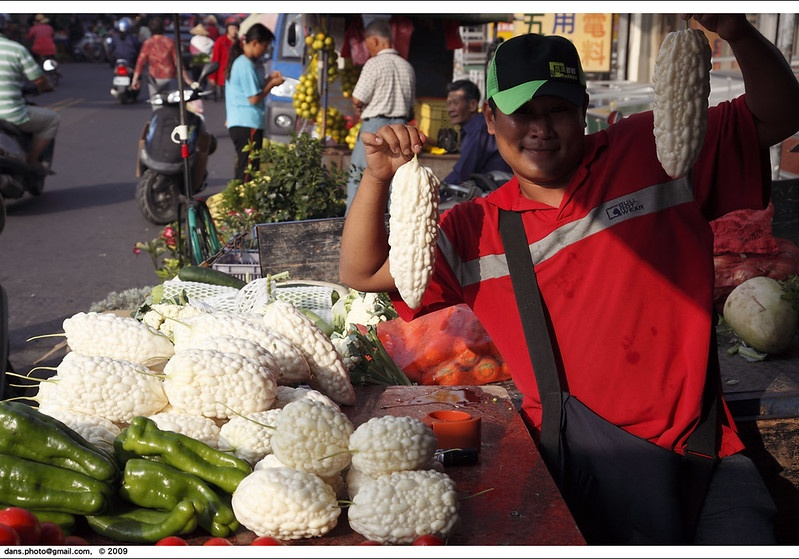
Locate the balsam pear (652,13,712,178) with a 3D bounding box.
[{"bbox_3d":[1.022,-0.626,2.589,0.192,0.543,0.295,5,24,21],"label":"balsam pear"}]

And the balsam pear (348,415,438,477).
[{"bbox_3d":[-0.034,0.596,2.520,0.262,0.208,0.200,-2,57,4],"label":"balsam pear"}]

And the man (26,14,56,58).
[{"bbox_3d":[-11.277,-7.431,22.467,0.749,1.679,0.712,-10,0,-39],"label":"man"}]

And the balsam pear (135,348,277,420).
[{"bbox_3d":[-0.742,0.412,2.833,0.403,0.247,0.230,6,8,2],"label":"balsam pear"}]

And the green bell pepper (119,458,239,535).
[{"bbox_3d":[-0.776,0.761,2.606,0.434,0.199,0.175,22,-17,6],"label":"green bell pepper"}]

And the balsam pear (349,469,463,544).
[{"bbox_3d":[0.011,0.770,2.428,0.320,0.156,0.205,-1,28,-1],"label":"balsam pear"}]

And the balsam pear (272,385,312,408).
[{"bbox_3d":[-0.463,0.486,2.983,0.119,0.036,0.101,2,7,8],"label":"balsam pear"}]

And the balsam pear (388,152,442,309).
[{"bbox_3d":[0.058,-0.169,2.700,0.201,0.568,0.182,-4,22,-1],"label":"balsam pear"}]

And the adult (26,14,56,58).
[{"bbox_3d":[-11.280,-7.427,22.522,0.779,1.772,0.728,-10,-4,-33],"label":"adult"}]

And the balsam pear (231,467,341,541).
[{"bbox_3d":[-0.382,0.775,2.430,0.325,0.221,0.202,4,49,-2],"label":"balsam pear"}]

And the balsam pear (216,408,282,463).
[{"bbox_3d":[-0.596,0.641,2.811,0.251,0.124,0.149,26,-16,-37],"label":"balsam pear"}]

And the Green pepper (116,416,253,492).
[{"bbox_3d":[-0.793,0.641,2.685,0.571,0.174,0.205,21,40,14],"label":"Green pepper"}]

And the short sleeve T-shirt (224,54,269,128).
[{"bbox_3d":[-2.237,-2.650,10.165,0.486,1.032,0.352,-12,23,-18],"label":"short sleeve T-shirt"}]

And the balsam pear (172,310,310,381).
[{"bbox_3d":[-0.685,0.250,3.196,0.531,0.237,0.291,12,60,17],"label":"balsam pear"}]

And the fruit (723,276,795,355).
[{"bbox_3d":[2.137,0.217,4.235,0.334,0.343,0.451,-17,24,22],"label":"fruit"}]

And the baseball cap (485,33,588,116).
[{"bbox_3d":[0.590,-0.900,3.055,0.418,0.292,0.555,-6,18,2],"label":"baseball cap"}]

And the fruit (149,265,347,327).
[{"bbox_3d":[-0.981,0.084,4.418,0.749,0.289,0.555,0,-3,3],"label":"fruit"}]

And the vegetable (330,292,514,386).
[{"bbox_3d":[0.114,0.332,4.099,0.824,0.324,0.528,19,55,10],"label":"vegetable"}]

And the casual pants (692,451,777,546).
[{"bbox_3d":[1.444,0.952,2.951,0.201,0.370,0.282,-11,-14,4],"label":"casual pants"}]

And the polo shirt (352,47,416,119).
[{"bbox_3d":[-0.135,-2.116,7.798,0.832,0.745,0.446,-9,15,-35],"label":"polo shirt"}]

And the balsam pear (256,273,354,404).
[{"bbox_3d":[-0.376,0.273,3.344,0.238,0.660,0.240,-36,-16,3],"label":"balsam pear"}]

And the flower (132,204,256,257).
[{"bbox_3d":[-2.148,-0.521,7.448,1.034,0.665,0.587,-8,27,-17],"label":"flower"}]

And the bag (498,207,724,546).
[{"bbox_3d":[1.128,0.447,3.318,0.727,1.231,1.139,-13,-7,-14],"label":"bag"}]
